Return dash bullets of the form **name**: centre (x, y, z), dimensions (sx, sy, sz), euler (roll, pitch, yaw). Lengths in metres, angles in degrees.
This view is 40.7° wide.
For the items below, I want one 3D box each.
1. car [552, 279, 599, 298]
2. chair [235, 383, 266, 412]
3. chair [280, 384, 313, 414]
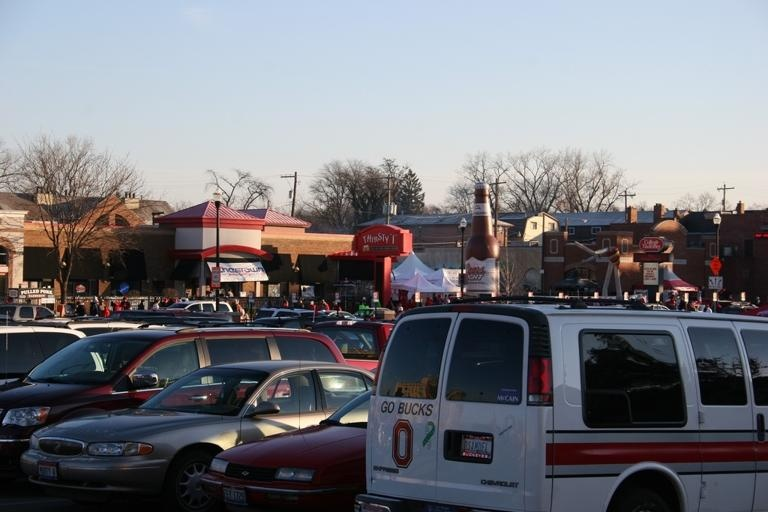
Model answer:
- **car**: centre (12.086, 1.993, 65.604), dimensions (2.793, 0.877, 2.393), euler (0, 2, -4)
- **chair**: centre (-1.931, 1.953, 14.503), dimensions (0.366, 0.351, 0.385), euler (1, -10, 3)
- **chair**: centre (-1.248, 2.050, 14.844), dimensions (0.404, 0.367, 0.531), euler (-2, -4, 28)
